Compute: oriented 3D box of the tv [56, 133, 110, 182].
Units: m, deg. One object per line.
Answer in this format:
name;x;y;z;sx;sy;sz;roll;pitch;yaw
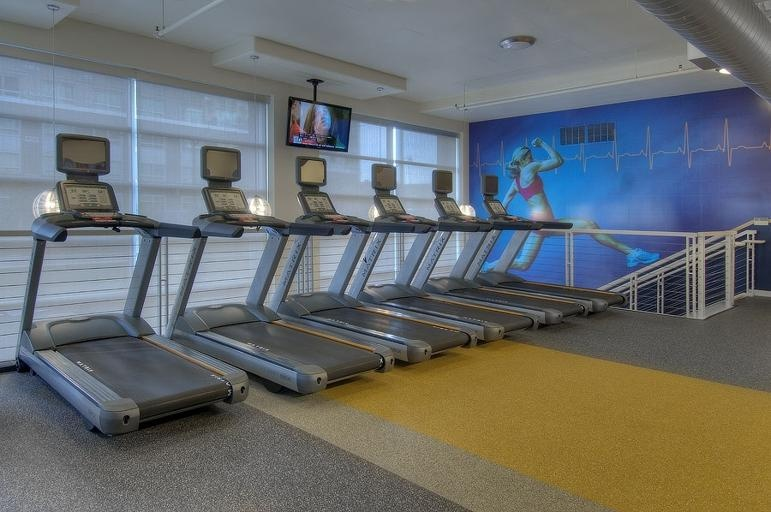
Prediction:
tv;-2.685;-0.914;4.288;0.398;0.327;0.075;-6;8;-41
